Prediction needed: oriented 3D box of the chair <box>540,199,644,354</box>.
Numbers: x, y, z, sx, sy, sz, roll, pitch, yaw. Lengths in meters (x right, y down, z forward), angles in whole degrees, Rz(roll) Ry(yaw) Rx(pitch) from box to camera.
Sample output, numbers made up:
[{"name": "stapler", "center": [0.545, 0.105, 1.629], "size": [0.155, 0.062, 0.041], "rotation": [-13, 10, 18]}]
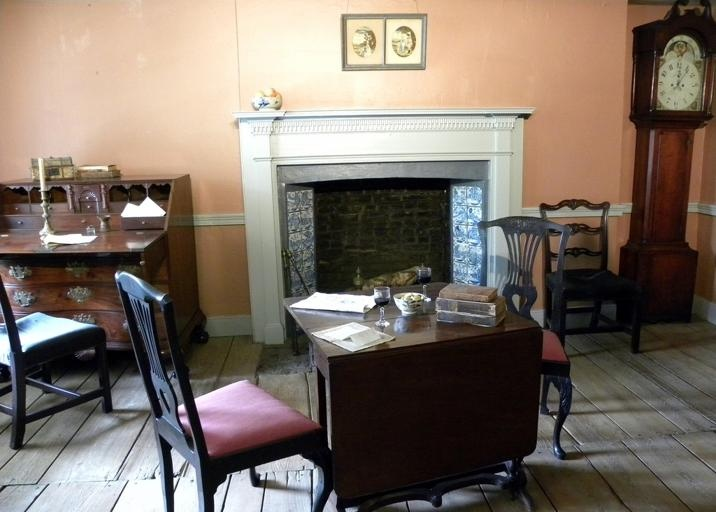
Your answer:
[{"name": "chair", "center": [1.965, 0.133, 4.656], "size": [0.749, 1.187, 0.806], "rotation": [1, 9, 17]}]

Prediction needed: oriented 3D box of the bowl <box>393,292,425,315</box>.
[{"name": "bowl", "center": [0.272, 0.261, 3.059], "size": [0.126, 0.066, 0.125], "rotation": [-1, 2, 0]}]

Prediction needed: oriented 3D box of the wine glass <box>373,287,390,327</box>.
[{"name": "wine glass", "center": [0.127, 0.268, 2.925], "size": [0.097, 0.191, 0.093], "rotation": [-5, 9, -17]}]

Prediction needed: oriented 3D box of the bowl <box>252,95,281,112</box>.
[{"name": "bowl", "center": [-0.741, -1.230, 4.440], "size": [0.233, 0.116, 0.117], "rotation": [-4, 11, -10]}]

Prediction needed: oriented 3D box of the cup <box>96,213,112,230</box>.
[{"name": "cup", "center": [-1.963, -0.269, 4.280], "size": [0.129, 0.141, 0.123], "rotation": [0, 3, 0]}]

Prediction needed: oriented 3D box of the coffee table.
[{"name": "coffee table", "center": [0.332, 0.534, 3.124], "size": [1.234, 0.937, 1.021], "rotation": [-2, 16, -7]}]

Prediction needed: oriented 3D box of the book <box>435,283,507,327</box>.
[{"name": "book", "center": [0.613, 0.203, 2.973], "size": [0.296, 0.147, 0.220], "rotation": [2, 8, 20]}]
